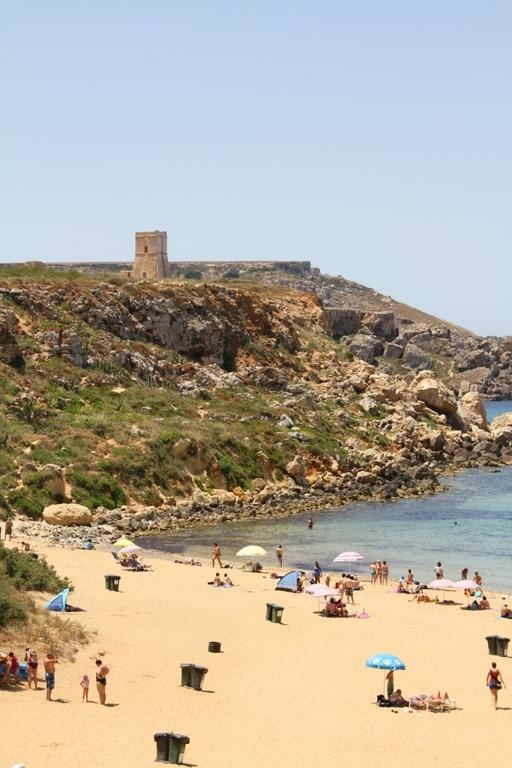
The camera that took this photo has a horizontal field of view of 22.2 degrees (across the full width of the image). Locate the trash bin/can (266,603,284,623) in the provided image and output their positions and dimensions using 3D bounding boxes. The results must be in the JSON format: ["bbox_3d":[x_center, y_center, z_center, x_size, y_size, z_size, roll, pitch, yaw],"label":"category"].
[{"bbox_3d":[0.601,6.061,34.559,0.452,0.541,0.559,1,6,-16],"label":"trash bin/can"}]

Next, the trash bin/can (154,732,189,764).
[{"bbox_3d":[-1.503,6.667,24.024,0.545,0.505,0.641,4,-5,12],"label":"trash bin/can"}]

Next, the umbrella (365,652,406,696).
[{"bbox_3d":[2.939,6.464,28.778,0.819,0.874,0.833,-1,-1,36],"label":"umbrella"}]

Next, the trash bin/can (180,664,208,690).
[{"bbox_3d":[-1.287,6.260,28.002,0.524,0.522,0.549,0,-5,12],"label":"trash bin/can"}]

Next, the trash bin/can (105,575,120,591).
[{"bbox_3d":[-3.891,5.466,35.985,0.398,0.583,0.470,-1,4,-23],"label":"trash bin/can"}]

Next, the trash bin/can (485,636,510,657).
[{"bbox_3d":[6.016,6.466,32.234,0.567,0.478,0.566,6,2,10],"label":"trash bin/can"}]
